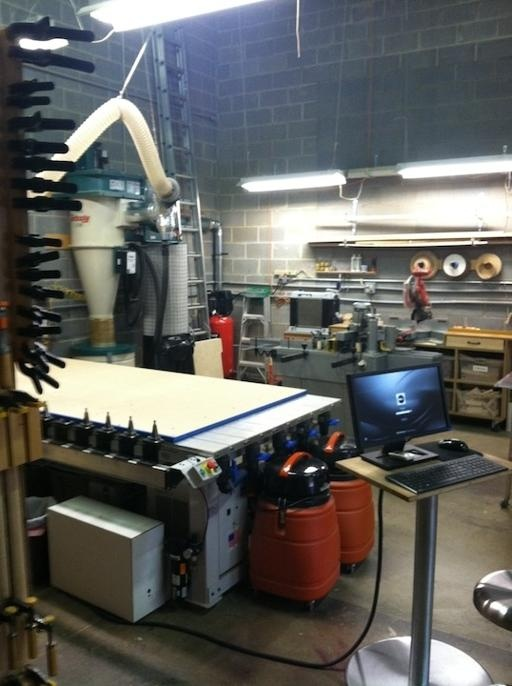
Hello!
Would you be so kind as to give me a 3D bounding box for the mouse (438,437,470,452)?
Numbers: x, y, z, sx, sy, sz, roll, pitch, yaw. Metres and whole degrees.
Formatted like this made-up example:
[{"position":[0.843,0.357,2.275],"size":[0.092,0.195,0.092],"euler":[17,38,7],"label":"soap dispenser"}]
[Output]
[{"position":[0.712,0.358,2.046],"size":[0.087,0.027,0.051],"euler":[6,10,44],"label":"mouse"}]
